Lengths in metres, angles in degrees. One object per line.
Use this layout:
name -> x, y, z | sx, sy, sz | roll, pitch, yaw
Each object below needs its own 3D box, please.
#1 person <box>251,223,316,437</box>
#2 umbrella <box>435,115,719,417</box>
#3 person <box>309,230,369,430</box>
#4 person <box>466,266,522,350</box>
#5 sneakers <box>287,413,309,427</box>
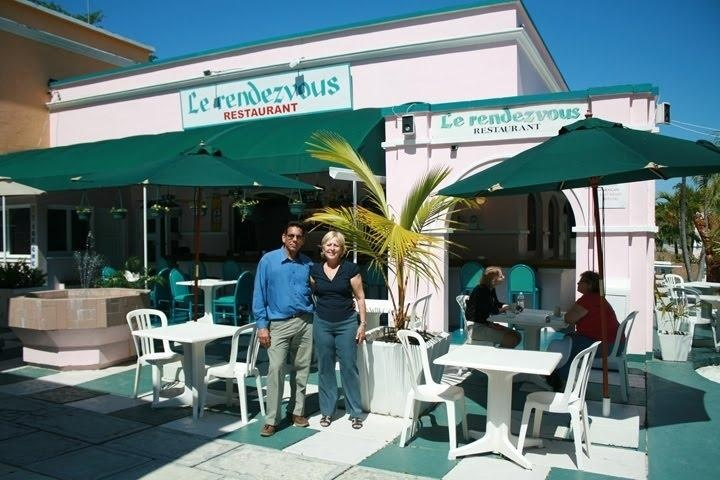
person -> -0.965, 1.089, 7.166 | 0.768, 2.591, 0.827 | -3, 11, -16
umbrella -> 2.624, 0.217, 8.520 | 3.975, 3.775, 3.893 | -6, 7, 2
person -> -0.299, 1.146, 7.155 | 0.713, 2.481, 0.580 | 0, 11, -2
person -> 2.146, 1.293, 8.905 | 0.904, 1.700, 0.668 | -1, -4, 36
sneakers -> -0.794, 2.338, 7.244 | 0.250, 0.176, 0.104 | -2, -5, 31
